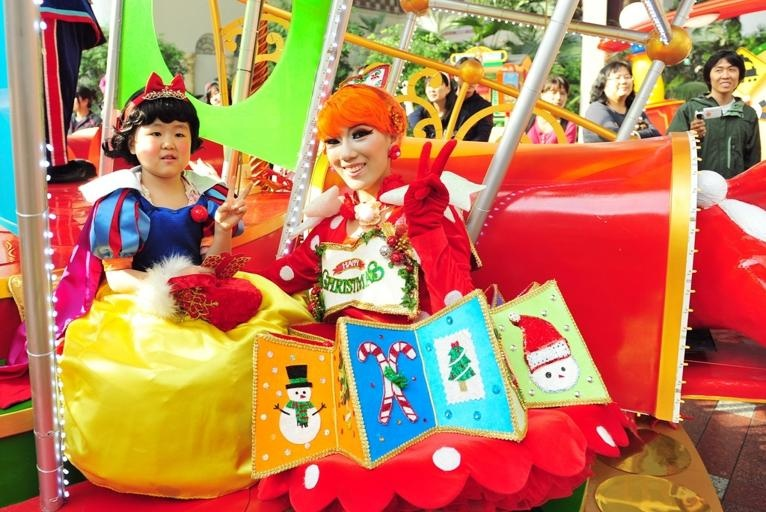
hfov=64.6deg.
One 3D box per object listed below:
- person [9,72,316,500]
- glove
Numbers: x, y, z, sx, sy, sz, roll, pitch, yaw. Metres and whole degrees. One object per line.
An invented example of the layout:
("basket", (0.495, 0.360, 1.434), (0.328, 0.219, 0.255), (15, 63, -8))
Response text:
("person", (-0.674, 0.060, 1.955), (0.697, 1.249, 0.799), (-4, 19, -28))
("glove", (0.166, -0.221, 1.965), (0.115, 0.316, 0.188), (21, 23, 40))
